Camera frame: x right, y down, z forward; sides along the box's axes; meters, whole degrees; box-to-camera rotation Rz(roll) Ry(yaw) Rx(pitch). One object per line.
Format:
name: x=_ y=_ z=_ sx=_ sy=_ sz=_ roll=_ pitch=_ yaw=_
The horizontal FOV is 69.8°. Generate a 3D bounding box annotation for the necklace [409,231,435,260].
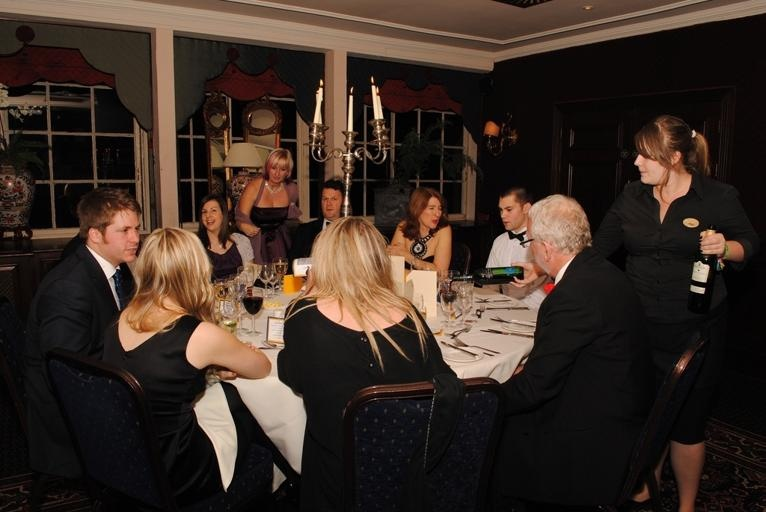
necklace: x=0.303 y=-0.078 z=4.486 sx=0.152 sy=0.246 sz=0.081 roll=-3 pitch=-4 yaw=19

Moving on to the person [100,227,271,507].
person: x=-0.926 y=0.500 z=2.642 sx=0.664 sy=1.261 sz=0.411 roll=-8 pitch=12 yaw=-40

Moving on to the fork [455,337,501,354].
fork: x=0.512 y=0.487 z=2.986 sx=0.028 sy=0.033 sz=0.252 roll=-30 pitch=23 yaw=-34

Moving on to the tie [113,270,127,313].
tie: x=-1.490 y=0.185 z=3.123 sx=0.061 sy=0.267 sz=0.028 roll=-7 pitch=14 yaw=-33

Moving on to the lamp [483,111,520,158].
lamp: x=1.472 y=-1.499 z=6.844 sx=0.498 sy=0.745 sz=0.306 roll=5 pitch=8 yaw=34

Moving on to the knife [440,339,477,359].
knife: x=0.397 y=0.495 z=2.916 sx=0.035 sy=0.014 sz=0.260 roll=-38 pitch=31 yaw=-21

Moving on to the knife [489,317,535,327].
knife: x=0.771 y=0.391 z=3.316 sx=0.287 sy=0.022 sz=0.078 roll=4 pitch=18 yaw=33

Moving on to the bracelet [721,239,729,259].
bracelet: x=1.916 y=-0.035 z=3.076 sx=0.034 sy=0.093 sz=0.072 roll=7 pitch=38 yaw=38

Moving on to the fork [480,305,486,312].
fork: x=0.639 y=0.336 z=3.525 sx=0.037 sy=0.033 sz=0.045 roll=0 pitch=-3 yaw=4
